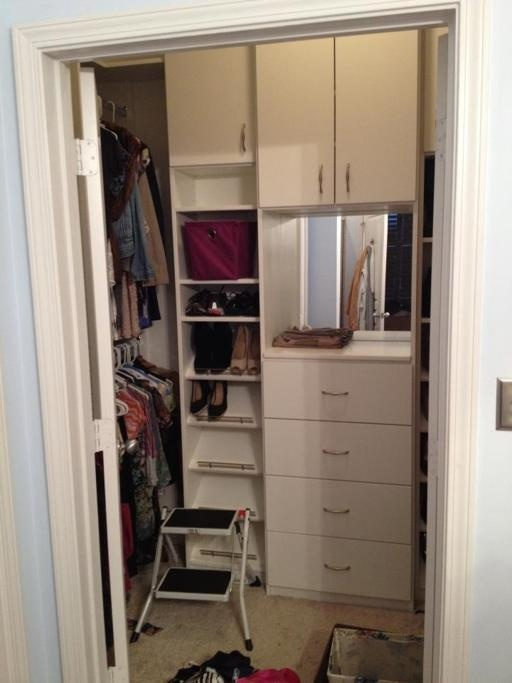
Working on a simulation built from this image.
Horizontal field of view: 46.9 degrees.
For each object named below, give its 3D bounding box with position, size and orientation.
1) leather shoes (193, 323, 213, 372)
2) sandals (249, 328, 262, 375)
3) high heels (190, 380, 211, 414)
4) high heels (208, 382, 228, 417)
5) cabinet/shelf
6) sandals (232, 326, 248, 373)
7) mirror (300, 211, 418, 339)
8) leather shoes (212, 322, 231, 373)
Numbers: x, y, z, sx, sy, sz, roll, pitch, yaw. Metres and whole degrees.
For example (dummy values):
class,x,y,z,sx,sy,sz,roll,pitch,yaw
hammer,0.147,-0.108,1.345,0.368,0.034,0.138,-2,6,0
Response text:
class,x,y,z,sx,sy,sz,roll,pitch,yaw
leather shoes,-0.259,0.035,2.870,0.069,0.261,0.160,1,3,3
sandals,-0.002,0.049,2.840,0.045,0.220,0.055,-2,-12,8
high heels,-0.276,0.271,2.903,0.059,0.083,0.198,-4,50,25
high heels,-0.188,0.294,2.914,0.061,0.212,0.069,-1,-21,4
cabinet/shelf,0.157,-0.192,2.916,1.030,2.460,0.650,4,23,14
sandals,-0.074,0.037,2.838,0.074,0.063,0.288,7,53,2
mirror,0.501,-0.326,2.774,0.465,0.742,0.052,4,10,19
leather shoes,-0.164,0.028,2.871,0.075,0.254,0.084,-1,-3,0
